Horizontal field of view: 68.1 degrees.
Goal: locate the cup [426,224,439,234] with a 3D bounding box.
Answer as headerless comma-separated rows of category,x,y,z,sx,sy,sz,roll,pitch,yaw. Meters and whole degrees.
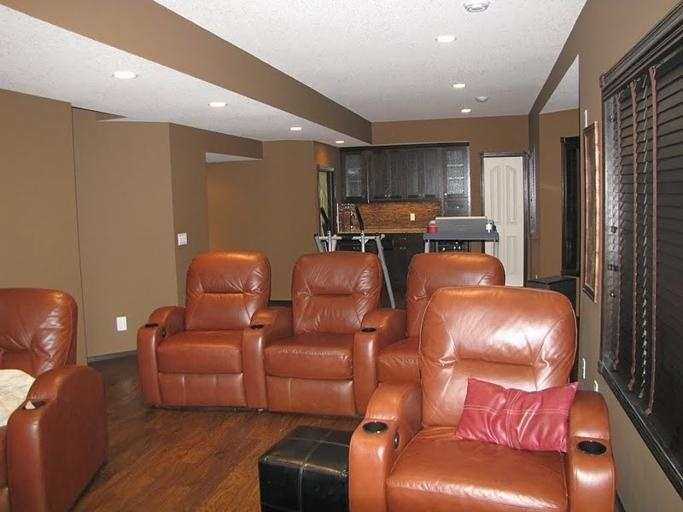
cup,0.974,-0.283,5.416,0.102,0.080,0.105,1,-2,0

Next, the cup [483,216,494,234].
cup,1.557,-0.325,5.295,0.113,0.144,0.352,1,10,16
